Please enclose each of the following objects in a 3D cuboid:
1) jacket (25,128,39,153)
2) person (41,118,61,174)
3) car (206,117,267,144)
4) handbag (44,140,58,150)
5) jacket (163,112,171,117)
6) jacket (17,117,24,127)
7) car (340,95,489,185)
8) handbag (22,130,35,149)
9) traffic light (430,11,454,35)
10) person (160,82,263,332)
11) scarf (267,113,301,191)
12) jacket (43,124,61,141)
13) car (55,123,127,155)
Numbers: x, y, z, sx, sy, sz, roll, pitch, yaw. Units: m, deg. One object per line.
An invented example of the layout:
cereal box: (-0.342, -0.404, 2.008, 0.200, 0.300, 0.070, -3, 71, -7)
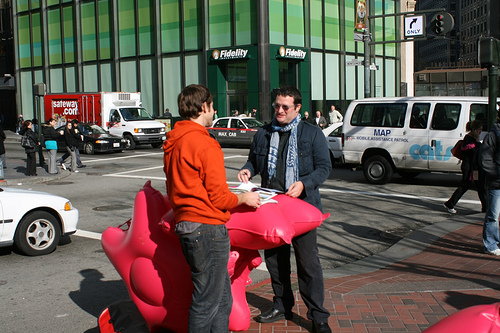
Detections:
jacket: (-8.698, -1.055, 17.753, 0.509, 0.944, 0.792, -5, 9, -26)
person: (-8.078, -0.840, 18.189, 0.608, 2.184, 1.373, -5, 8, -24)
car: (-0.770, -2.213, 26.765, 3.805, 1.423, 1.877, -1, 3, 22)
handbag: (-8.023, -0.872, 17.942, 0.360, 0.355, 0.323, -1, 8, 10)
jacket: (-6.266, -3.975, 33.854, 0.564, 0.244, 0.320, -2, -2, 0)
jacket: (-21.790, -4.253, 42.339, 0.463, 0.871, 2.066, -5, 9, -27)
car: (5.346, -0.839, 14.532, 3.975, 2.114, 2.587, -2, 3, 30)
handbag: (-8.790, -1.080, 17.675, 0.404, 0.711, 0.686, -7, 10, -35)
traffic light: (8.659, -6.481, 20.314, 0.989, 1.094, 0.783, -1, 7, 9)
person: (-0.415, 0.503, 4.443, 0.825, 2.626, 0.530, -3, 7, -13)
scarf: (0.417, -0.168, 5.299, 0.315, 1.029, 0.384, 0, 0, 2)
jacket: (-7.949, -1.335, 17.902, 0.538, 0.639, 0.600, -10, 20, -26)
car: (-8.955, -1.415, 25.040, 3.541, 1.360, 1.775, 1, 4, 29)
